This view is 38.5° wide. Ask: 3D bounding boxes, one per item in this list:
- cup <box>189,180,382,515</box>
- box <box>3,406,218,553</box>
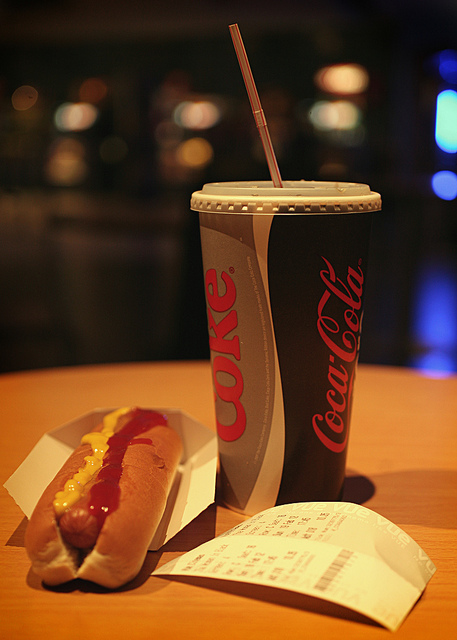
[{"bbox_3d":[0.062,0.021,0.768,0.207,0.359,0.166,-4,15,-20],"label":"cup"},{"bbox_3d":[-0.117,0.152,0.734,0.233,0.099,0.267,-1,9,-8],"label":"box"}]
